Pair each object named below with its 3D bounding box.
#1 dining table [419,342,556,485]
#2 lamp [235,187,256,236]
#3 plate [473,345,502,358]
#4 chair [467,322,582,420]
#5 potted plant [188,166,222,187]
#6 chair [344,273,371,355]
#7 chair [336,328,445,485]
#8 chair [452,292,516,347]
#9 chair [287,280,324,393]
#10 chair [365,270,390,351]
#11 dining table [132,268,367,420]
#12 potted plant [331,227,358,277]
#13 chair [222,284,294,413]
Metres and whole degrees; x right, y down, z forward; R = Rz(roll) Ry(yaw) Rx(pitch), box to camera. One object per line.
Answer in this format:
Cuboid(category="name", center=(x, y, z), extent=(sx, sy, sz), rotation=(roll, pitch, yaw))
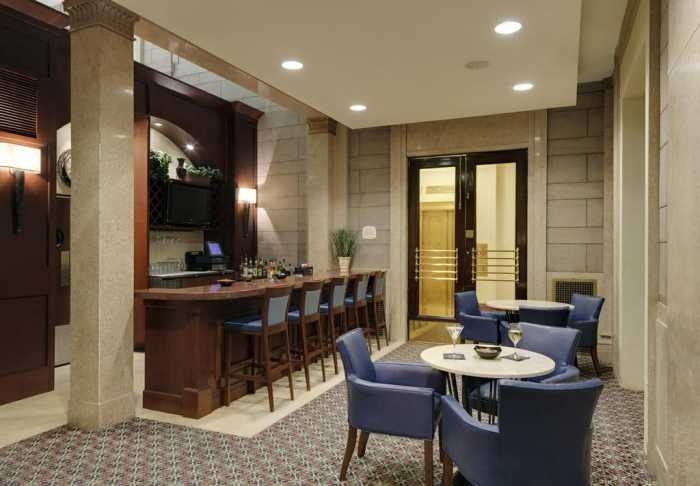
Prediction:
Cuboid(category="dining table", center=(1.134, 1.313, 4.565), extent=(1.014, 1.202, 1.061), rotation=(1, 0, -19))
Cuboid(category="lamp", center=(-1.866, -0.561, 9.247), extent=(0.233, 0.923, 0.431), rotation=(4, 12, 18))
Cuboid(category="plate", center=(1.223, 0.958, 4.489), extent=(0.134, 0.061, 0.129), rotation=(-1, -1, 23))
Cuboid(category="chair", center=(1.587, 1.236, 4.671), extent=(0.965, 0.985, 0.940), rotation=(2, -2, 40))
Cuboid(category="potted plant", center=(-2.529, -1.156, 8.757), extent=(0.349, 0.172, 0.368), rotation=(2, 1, 7))
Cuboid(category="chair", center=(0.000, 1.023, 7.675), extent=(0.518, 1.100, 0.575), rotation=(-2, -1, 13))
Cuboid(category="chair", center=(0.367, 1.423, 4.944), extent=(1.137, 1.516, 1.098), rotation=(-1, -1, 19))
Cuboid(category="chair", center=(1.819, 1.116, 6.764), extent=(0.677, 0.891, 0.733), rotation=(-1, 0, -38))
Cuboid(category="chair", center=(-0.661, 1.110, 6.481), extent=(0.615, 1.276, 0.621), rotation=(-1, 2, 8))
Cuboid(category="chair", center=(0.333, 1.054, 8.318), extent=(0.573, 1.170, 0.586), rotation=(-3, -1, -3))
Cuboid(category="dining table", center=(-1.663, 1.162, 5.751), extent=(1.377, 1.397, 0.857), rotation=(-7, 14, -32))
Cuboid(category="potted plant", center=(-0.003, 0.130, 9.018), extent=(0.385, 0.716, 0.435), rotation=(-4, 2, -15))
Cuboid(category="chair", center=(-1.060, 1.158, 5.915), extent=(0.652, 1.374, 0.638), rotation=(1, 1, 26))
